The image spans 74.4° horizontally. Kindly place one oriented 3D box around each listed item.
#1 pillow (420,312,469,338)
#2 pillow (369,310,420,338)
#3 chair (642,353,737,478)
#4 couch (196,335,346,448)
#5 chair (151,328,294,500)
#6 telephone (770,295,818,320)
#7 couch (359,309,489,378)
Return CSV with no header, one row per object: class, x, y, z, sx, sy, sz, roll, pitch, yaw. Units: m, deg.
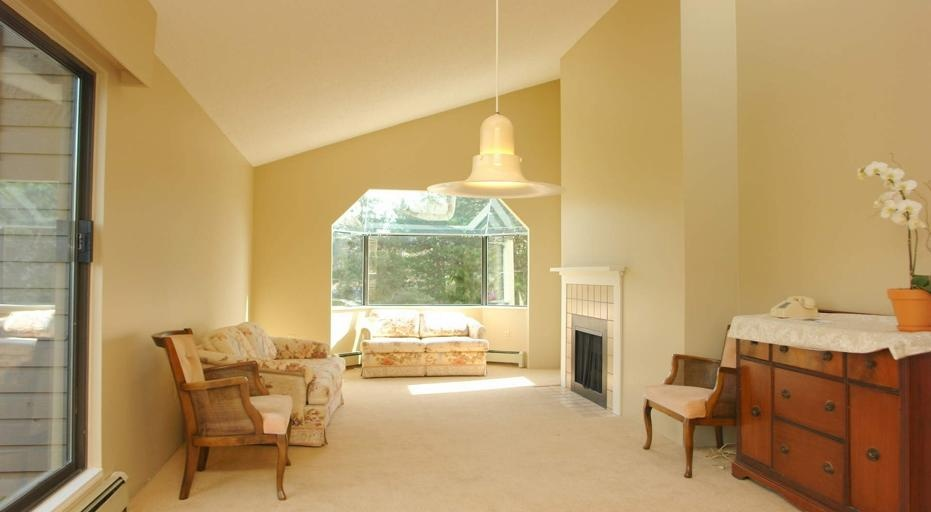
pillow,-0.352,1.183,10.504,0.614,0.457,0.154,2,-16,-4
pillow,-1.209,1.178,10.424,0.742,0.473,0.162,1,-12,-10
chair,2.543,1.736,7.156,1.274,1.361,1.139,3,-6,-20
couch,-2.331,1.547,7.792,1.507,0.954,1.665,5,3,1
chair,-2.476,1.534,6.293,1.276,1.552,1.193,-1,9,-12
telephone,3.389,0.542,6.270,0.378,0.156,0.267,1,-2,-5
couch,-0.698,1.462,10.261,2.054,0.945,0.834,0,8,-6
